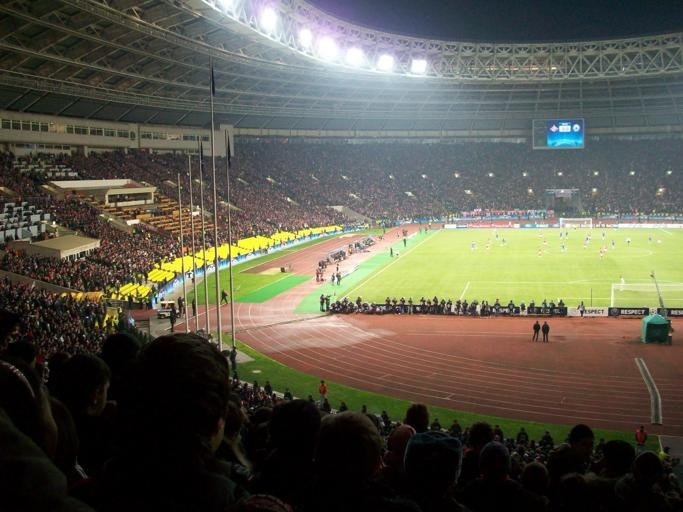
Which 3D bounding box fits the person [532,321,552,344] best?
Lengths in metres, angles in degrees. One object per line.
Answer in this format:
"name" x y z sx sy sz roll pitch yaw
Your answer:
"person" 11.470 4.410 33.809 0.998 1.222 0.337 4 11 19
